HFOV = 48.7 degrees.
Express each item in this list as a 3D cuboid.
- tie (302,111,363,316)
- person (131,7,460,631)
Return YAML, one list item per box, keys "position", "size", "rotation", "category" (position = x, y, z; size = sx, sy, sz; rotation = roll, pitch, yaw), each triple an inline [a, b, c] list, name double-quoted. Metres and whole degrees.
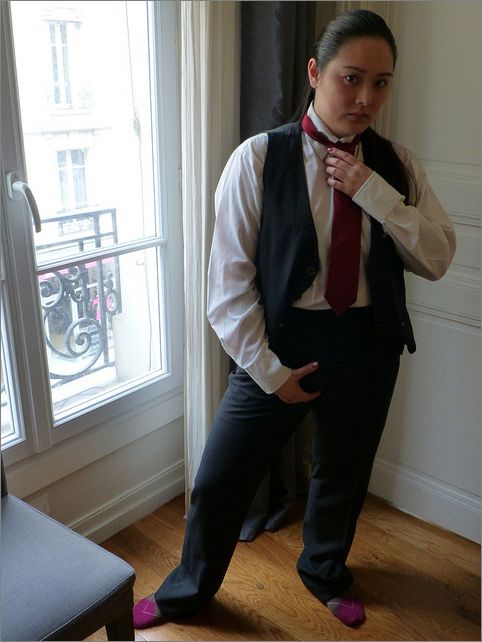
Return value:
- position: [0.194, -0.232, 1.143]
  size: [0.135, 0.404, 0.161]
  rotation: [2, 13, 4]
  category: "tie"
- position: [0.151, 0.101, 1.301]
  size: [0.682, 1.520, 0.395]
  rotation: [-5, 15, -25]
  category: "person"
